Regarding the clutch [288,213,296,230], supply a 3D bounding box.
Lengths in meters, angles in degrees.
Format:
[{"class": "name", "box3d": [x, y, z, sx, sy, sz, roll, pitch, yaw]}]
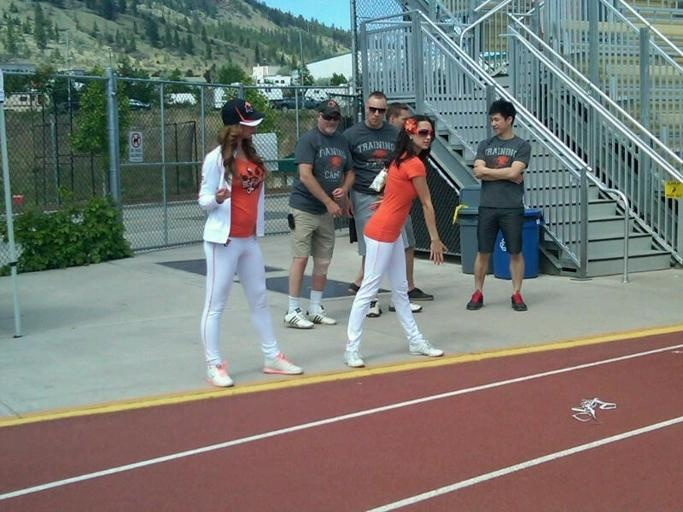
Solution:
[{"class": "clutch", "box3d": [-0.555, -0.396, 8.764, 0.060, 0.170, 0.108, -6, 1, -39]}]

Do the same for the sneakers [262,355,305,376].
[{"class": "sneakers", "box3d": [-0.533, 1.001, 7.014, 0.372, 0.207, 0.161, 2, 2, 1]}]

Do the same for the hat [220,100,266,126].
[{"class": "hat", "box3d": [-0.867, -1.232, 6.574, 0.294, 0.194, 0.219, -8, 27, 1]}]

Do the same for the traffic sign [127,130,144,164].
[{"class": "traffic sign", "box3d": [-3.844, -2.018, 14.156, 0.069, 0.815, 0.545, 3, 7, 30]}]

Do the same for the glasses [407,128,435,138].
[{"class": "glasses", "box3d": [0.760, -1.195, 7.405, 0.140, 0.047, 0.138, -1, 1, -37]}]

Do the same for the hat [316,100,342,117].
[{"class": "hat", "box3d": [-0.150, -1.629, 8.441, 0.154, 0.145, 0.231, 0, 8, -13]}]

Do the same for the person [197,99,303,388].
[{"class": "person", "box3d": [-0.896, -0.115, 6.746, 0.751, 2.479, 0.363, -4, 9, -18]}]

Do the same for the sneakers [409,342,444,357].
[{"class": "sneakers", "box3d": [0.842, 0.914, 7.528, 0.325, 0.154, 0.143, 2, 3, 6]}]

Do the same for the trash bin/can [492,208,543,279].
[{"class": "trash bin/can", "box3d": [2.601, -0.171, 11.302, 0.869, 1.131, 0.934, 2, 15, 29]}]

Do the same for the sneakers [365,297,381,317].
[{"class": "sneakers", "box3d": [0.377, 0.628, 9.119, 0.115, 0.163, 0.328, -1, -2, 9]}]

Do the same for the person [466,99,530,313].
[{"class": "person", "box3d": [1.951, -0.522, 9.487, 0.736, 2.259, 0.855, 1, 9, 14]}]

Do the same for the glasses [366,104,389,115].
[{"class": "glasses", "box3d": [0.414, -1.673, 8.763, 0.203, 0.085, 0.135, -4, 10, -16]}]

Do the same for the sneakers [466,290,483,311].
[{"class": "sneakers", "box3d": [1.654, 0.548, 9.439, 0.117, 0.151, 0.335, -1, 3, 21]}]

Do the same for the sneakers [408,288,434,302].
[{"class": "sneakers", "box3d": [1.055, 0.503, 9.918, 0.390, 0.185, 0.142, 0, 3, -8]}]

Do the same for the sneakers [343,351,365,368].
[{"class": "sneakers", "box3d": [0.114, 0.974, 7.246, 0.091, 0.109, 0.242, 0, -2, -27]}]

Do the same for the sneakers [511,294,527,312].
[{"class": "sneakers", "box3d": [2.167, 0.552, 9.281, 0.195, 0.185, 0.260, 1, 10, 14]}]

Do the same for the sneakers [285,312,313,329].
[{"class": "sneakers", "box3d": [-0.481, 0.709, 8.616, 0.291, 0.165, 0.163, 4, 8, 28]}]

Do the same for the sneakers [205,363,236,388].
[{"class": "sneakers", "box3d": [-1.076, 1.056, 6.767, 0.118, 0.163, 0.319, -3, 4, -38]}]

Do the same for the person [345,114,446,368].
[{"class": "person", "box3d": [0.565, -0.157, 7.376, 0.712, 2.318, 1.224, 7, 12, 43]}]
